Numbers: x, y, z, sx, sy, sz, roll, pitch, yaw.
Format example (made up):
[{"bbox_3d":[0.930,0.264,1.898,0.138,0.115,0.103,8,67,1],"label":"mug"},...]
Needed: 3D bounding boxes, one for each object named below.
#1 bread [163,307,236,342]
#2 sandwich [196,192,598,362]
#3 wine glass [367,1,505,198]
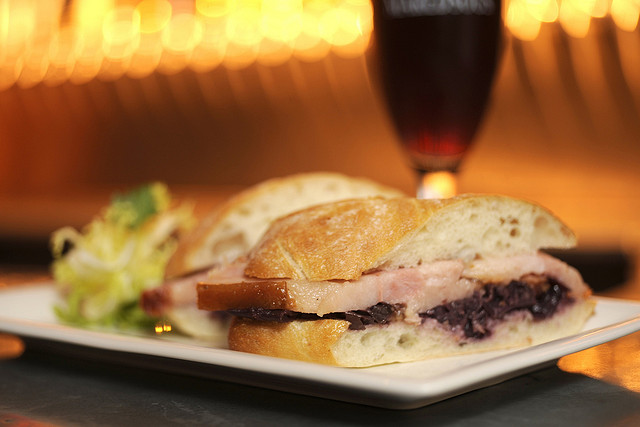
[{"bbox_3d":[-0.231,0.201,1.162,0.105,0.036,0.088,1,-9,21],"label":"bread"},{"bbox_3d":[0.139,0.123,1.168,0.554,0.188,0.384,-1,3,-26],"label":"sandwich"},{"bbox_3d":[0.217,-0.240,1.206,0.255,0.371,0.205,6,31,10],"label":"wine glass"}]
